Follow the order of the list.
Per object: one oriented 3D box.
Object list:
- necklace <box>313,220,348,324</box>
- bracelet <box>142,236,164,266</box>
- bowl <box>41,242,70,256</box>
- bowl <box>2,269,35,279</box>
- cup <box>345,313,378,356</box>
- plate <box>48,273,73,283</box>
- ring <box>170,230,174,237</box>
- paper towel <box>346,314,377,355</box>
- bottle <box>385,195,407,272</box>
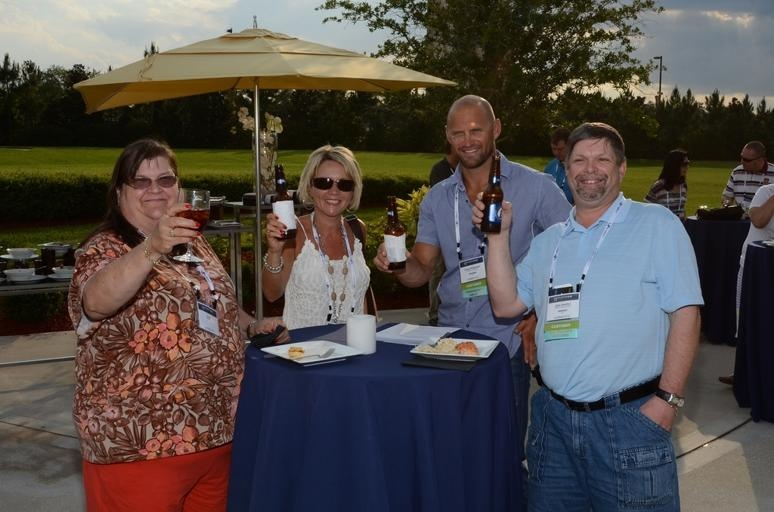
[{"bbox_3d":[-0.397,0.094,4.567,0.316,0.738,0.402,-1,8,-9],"label":"necklace"},{"bbox_3d":[-1.121,-0.022,2.901,0.083,0.131,0.041,4,4,-6],"label":"bracelet"},{"bbox_3d":[-3.560,-0.061,6.568,0.281,0.137,0.532,-4,11,-28],"label":"bowl"},{"bbox_3d":[-3.700,0.182,6.139,0.328,0.104,0.222,0,9,-5],"label":"bowl"},{"bbox_3d":[-0.143,0.450,3.494,0.180,0.236,0.195,0,5,0],"label":"cup"},{"bbox_3d":[-3.224,0.225,5.996,0.159,0.041,0.171,0,2,-7],"label":"plate"},{"bbox_3d":[-1.010,-0.110,2.871,0.007,0.022,0.020,-7,-21,22],"label":"ring"},{"bbox_3d":[-0.145,0.439,3.524,0.181,0.237,0.194,-1,6,-9],"label":"paper towel"},{"bbox_3d":[0.070,-0.146,4.118,0.158,0.506,0.309,1,8,1],"label":"bottle"}]
